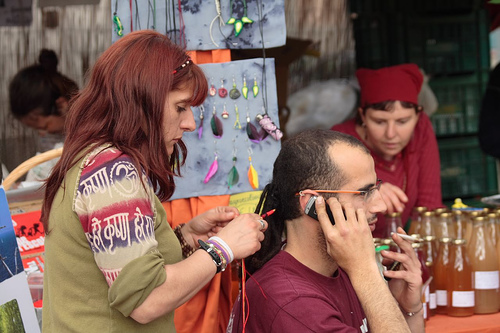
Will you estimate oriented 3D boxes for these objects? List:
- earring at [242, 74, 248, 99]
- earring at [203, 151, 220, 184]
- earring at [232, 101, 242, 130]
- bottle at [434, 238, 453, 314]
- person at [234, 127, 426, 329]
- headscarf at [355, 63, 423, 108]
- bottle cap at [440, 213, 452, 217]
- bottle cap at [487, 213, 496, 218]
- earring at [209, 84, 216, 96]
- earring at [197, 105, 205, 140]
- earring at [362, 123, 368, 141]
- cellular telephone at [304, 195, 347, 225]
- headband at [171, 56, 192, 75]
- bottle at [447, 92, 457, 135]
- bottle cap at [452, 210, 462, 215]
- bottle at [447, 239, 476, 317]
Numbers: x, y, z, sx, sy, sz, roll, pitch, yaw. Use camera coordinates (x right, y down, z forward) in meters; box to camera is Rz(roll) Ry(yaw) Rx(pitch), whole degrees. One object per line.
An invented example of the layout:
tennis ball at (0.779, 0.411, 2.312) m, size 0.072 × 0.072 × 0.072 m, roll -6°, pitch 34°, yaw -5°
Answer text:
earring at (-0.035, -0.530, 3.031) m, size 0.036 × 0.149 × 0.012 m, roll -1°, pitch 0°, yaw -20°
earring at (-0.255, 0.005, 3.037) m, size 0.070 × 0.226 × 0.032 m, roll 21°, pitch 2°, yaw -5°
earring at (-0.088, -0.337, 3.041) m, size 0.054 × 0.174 × 0.014 m, roll -1°, pitch 0°, yaw -17°
bottle at (1.124, 0.648, 2.707) m, size 0.096 × 0.450 × 0.107 m, roll -2°, pitch -10°, yaw 20°
person at (0.418, 0.425, 2.499) m, size 0.855 × 1.053 × 1.220 m, roll -5°, pitch 7°, yaw 4°
headscarf at (1.049, -0.583, 3.462) m, size 0.496 × 0.346 × 0.598 m, roll 3°, pitch -2°, yaw 1°
bottle cap at (1.208, 0.301, 2.833) m, size 0.081 × 0.017 × 0.031 m, roll -1°, pitch -1°, yaw -21°
bottle cap at (1.463, 0.301, 2.792) m, size 0.032 × 0.021 × 0.032 m, roll 1°, pitch -3°, yaw -33°
earring at (-0.250, -0.504, 3.015) m, size 0.047 × 0.072 × 0.018 m, roll -4°, pitch -5°, yaw -2°
earring at (-0.322, -0.297, 3.031) m, size 0.048 × 0.213 × 0.024 m, roll -1°, pitch 0°, yaw 23°
earring at (0.845, -0.260, 3.385) m, size 0.036 × 0.103 × 0.095 m, roll -1°, pitch 0°, yaw 12°
cellular telephone at (0.366, 0.197, 2.240) m, size 0.183 × 0.111 × 0.046 m, roll 29°, pitch 39°, yaw 10°
headband at (-0.314, -0.460, 2.076) m, size 0.148 × 0.038 × 0.023 m, roll -38°, pitch 25°, yaw -30°
bottle at (1.823, -0.480, 4.160) m, size 0.067 × 0.289 × 0.176 m, roll -1°, pitch 0°, yaw 26°
bottle cap at (1.274, 0.286, 2.839) m, size 0.052 × 0.021 × 0.020 m, roll -2°, pitch -1°, yaw 26°
bottle at (1.222, 0.657, 2.681) m, size 0.151 × 0.344 × 0.055 m, roll -1°, pitch 0°, yaw -7°
